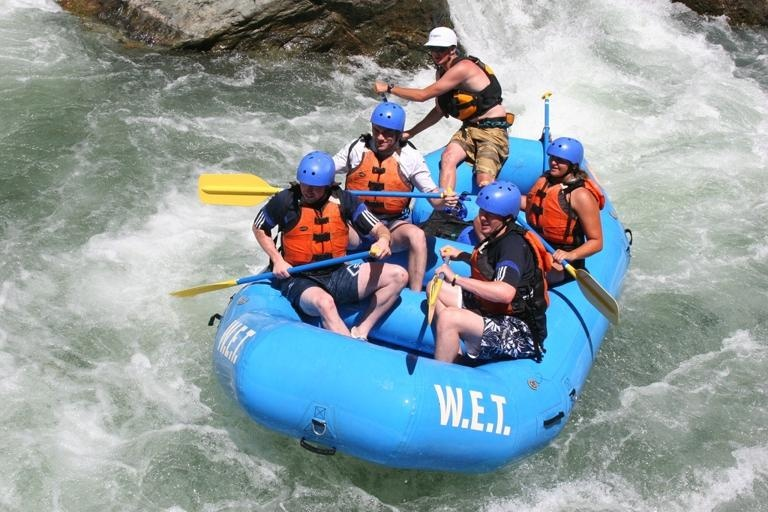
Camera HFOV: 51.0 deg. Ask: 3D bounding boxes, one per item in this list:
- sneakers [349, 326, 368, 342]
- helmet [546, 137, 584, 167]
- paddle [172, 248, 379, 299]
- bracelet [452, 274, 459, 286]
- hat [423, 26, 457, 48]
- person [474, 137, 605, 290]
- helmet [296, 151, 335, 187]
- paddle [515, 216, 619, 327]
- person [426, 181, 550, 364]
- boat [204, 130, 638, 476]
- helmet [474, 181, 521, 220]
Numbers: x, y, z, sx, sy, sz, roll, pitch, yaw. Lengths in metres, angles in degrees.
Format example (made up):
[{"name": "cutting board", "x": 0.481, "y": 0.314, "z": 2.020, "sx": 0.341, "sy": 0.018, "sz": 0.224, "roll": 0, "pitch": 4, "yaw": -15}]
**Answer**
[{"name": "sneakers", "x": -0.257, "y": 0.806, "z": 8.139, "sx": 0.088, "sy": 0.091, "sz": 0.239, "roll": -20, "pitch": 35, "yaw": -38}, {"name": "helmet", "x": 1.958, "y": -1.122, "z": 8.580, "sx": 0.377, "sy": 0.269, "sz": 0.261, "roll": -14, "pitch": 36, "yaw": -28}, {"name": "paddle", "x": -1.114, "y": 0.206, "z": 8.571, "sx": 2.474, "sy": 0.127, "sz": 0.158, "roll": -11, "pitch": 79, "yaw": 9}, {"name": "bracelet", "x": 0.687, "y": 0.241, "z": 7.793, "sx": 0.026, "sy": 0.078, "sz": 0.073, "roll": 12, "pitch": 78, "yaw": -12}, {"name": "hat", "x": 0.724, "y": -2.515, "z": 9.437, "sx": 0.375, "sy": 0.233, "sz": 0.474, "roll": 10, "pitch": 21, "yaw": 24}, {"name": "person", "x": 1.757, "y": -0.421, "z": 8.861, "sx": 1.445, "sy": 1.754, "sz": 1.132, "roll": 14, "pitch": 28, "yaw": 34}, {"name": "helmet", "x": -0.653, "y": -0.875, "z": 8.136, "sx": 0.299, "sy": 0.286, "sz": 0.389, "roll": 18, "pitch": 7, "yaw": -3}, {"name": "paddle", "x": 1.847, "y": 0.178, "z": 8.330, "sx": 0.134, "sy": 0.229, "sz": 1.572, "roll": -18, "pitch": 57, "yaw": -38}, {"name": "person", "x": 1.072, "y": 0.230, "z": 8.097, "sx": 1.488, "sy": 1.929, "sz": 1.160, "roll": 6, "pitch": 26, "yaw": -1}, {"name": "boat", "x": 0.453, "y": 0.883, "z": 8.164, "sx": 3.835, "sy": 1.014, "sz": 2.764, "roll": -19, "pitch": 60, "yaw": -25}, {"name": "helmet", "x": 1.188, "y": -0.532, "z": 8.087, "sx": 0.412, "sy": 0.501, "sz": 0.310, "roll": 3, "pitch": 82, "yaw": 9}]
